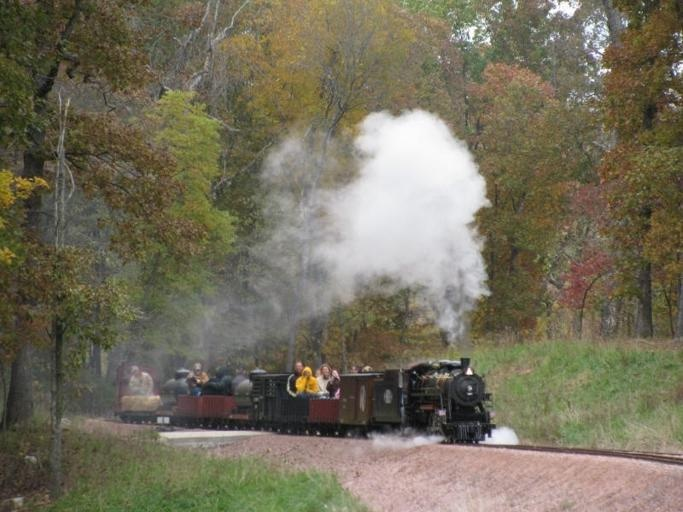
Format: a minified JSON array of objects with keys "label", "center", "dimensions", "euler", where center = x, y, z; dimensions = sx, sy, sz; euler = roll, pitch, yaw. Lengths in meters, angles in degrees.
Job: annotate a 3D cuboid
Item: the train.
[{"label":"train","center":[-2.756,6.463,57.244],"dimensions":[20.438,3.573,2.618],"euler":[-5,-1,36]}]
